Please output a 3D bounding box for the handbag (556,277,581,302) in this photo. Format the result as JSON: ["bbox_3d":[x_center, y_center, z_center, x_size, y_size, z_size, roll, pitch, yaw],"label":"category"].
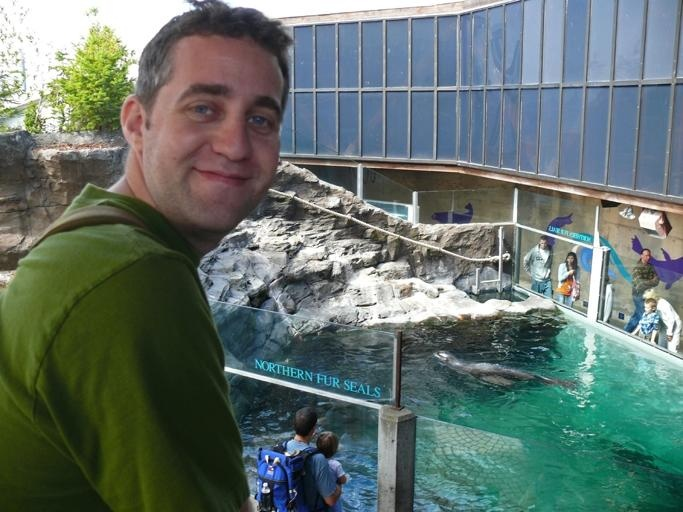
[{"bbox_3d":[7.937,1.172,17.933,0.219,1.199,0.603,-4,18,-26],"label":"handbag"}]
